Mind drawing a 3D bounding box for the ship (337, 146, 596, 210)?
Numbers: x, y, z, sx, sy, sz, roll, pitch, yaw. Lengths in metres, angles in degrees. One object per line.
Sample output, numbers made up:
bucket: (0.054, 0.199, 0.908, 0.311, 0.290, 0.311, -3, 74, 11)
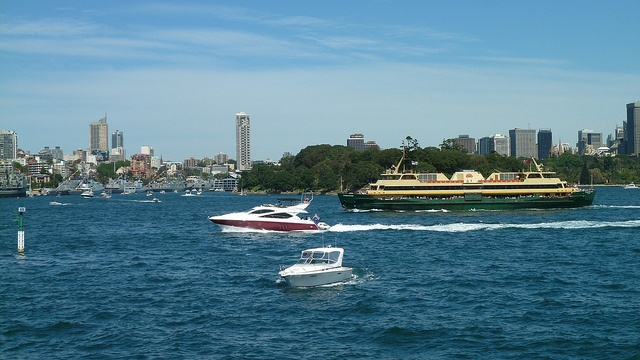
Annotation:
ship: (37.613, 0.459, 258.684, 68.267, 12.801, 11.618, -1, 3, -9)

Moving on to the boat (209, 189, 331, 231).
boat: (-11.581, 7.432, 224.615, 28.416, 7.575, 7.201, 1, 7, -27)

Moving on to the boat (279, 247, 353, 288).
boat: (-1.368, 16.944, 199.098, 9.898, 5.750, 16.591, 7, 11, 39)
